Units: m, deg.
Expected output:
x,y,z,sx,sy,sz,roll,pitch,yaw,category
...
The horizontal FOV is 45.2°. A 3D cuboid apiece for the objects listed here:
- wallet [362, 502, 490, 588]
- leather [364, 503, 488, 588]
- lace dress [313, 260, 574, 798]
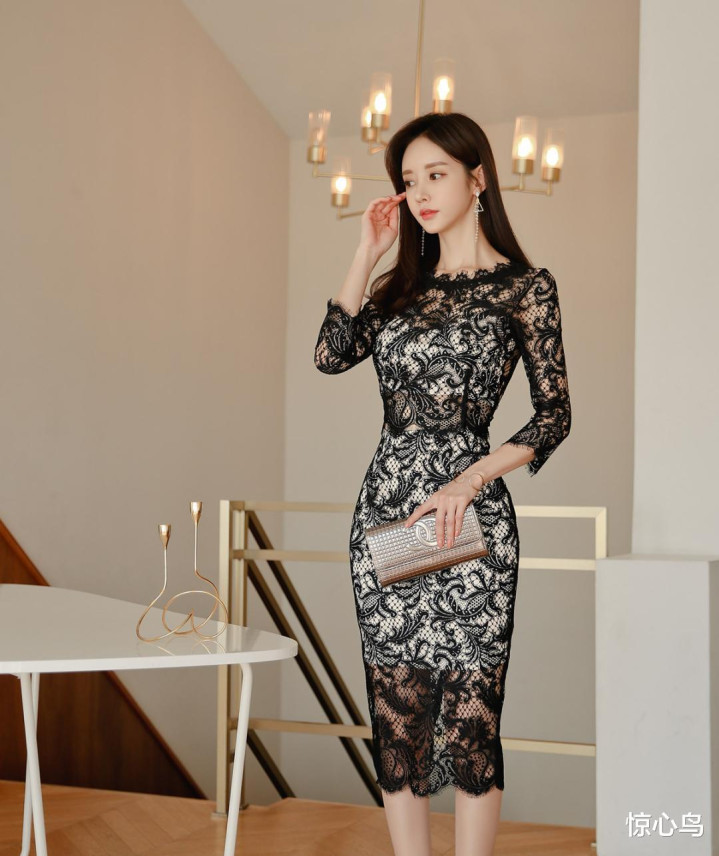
x,y,z,sx,sy,sz,roll,pitch,yaw,category
0.102,0.193,1.508,0.278,0.128,0.066,-14,-7,16,wallet
0.107,0.197,1.521,0.280,0.127,0.067,-14,-7,16,leather
0.156,0.183,1.608,0.486,0.967,0.223,-3,-5,11,lace dress
